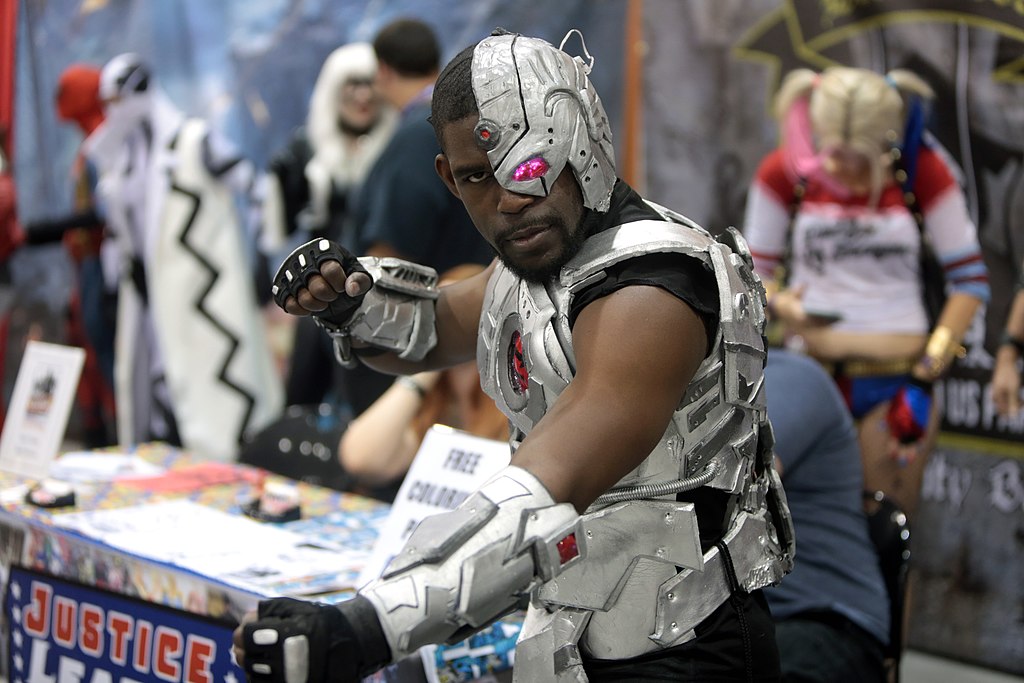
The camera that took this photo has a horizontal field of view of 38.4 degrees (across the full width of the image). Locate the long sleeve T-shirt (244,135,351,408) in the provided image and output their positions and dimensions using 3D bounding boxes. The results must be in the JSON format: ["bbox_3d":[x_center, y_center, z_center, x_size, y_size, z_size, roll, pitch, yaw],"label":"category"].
[{"bbox_3d":[-1.217,-0.436,8.637,0.509,0.443,1.646,13,-36,-12],"label":"long sleeve T-shirt"}]

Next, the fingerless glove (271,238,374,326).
[{"bbox_3d":[-0.694,-0.229,5.172,0.296,0.171,0.399,-21,-27,-13],"label":"fingerless glove"}]

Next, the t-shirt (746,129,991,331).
[{"bbox_3d":[1.669,-0.516,6.621,0.781,0.728,0.290,0,10,22],"label":"t-shirt"}]

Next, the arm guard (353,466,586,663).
[{"bbox_3d":[-0.086,0.688,4.621,0.715,0.431,0.351,-32,-31,-11],"label":"arm guard"}]

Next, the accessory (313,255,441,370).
[{"bbox_3d":[-0.461,-0.108,5.205,0.362,0.286,0.335,0,9,-21],"label":"accessory"}]
